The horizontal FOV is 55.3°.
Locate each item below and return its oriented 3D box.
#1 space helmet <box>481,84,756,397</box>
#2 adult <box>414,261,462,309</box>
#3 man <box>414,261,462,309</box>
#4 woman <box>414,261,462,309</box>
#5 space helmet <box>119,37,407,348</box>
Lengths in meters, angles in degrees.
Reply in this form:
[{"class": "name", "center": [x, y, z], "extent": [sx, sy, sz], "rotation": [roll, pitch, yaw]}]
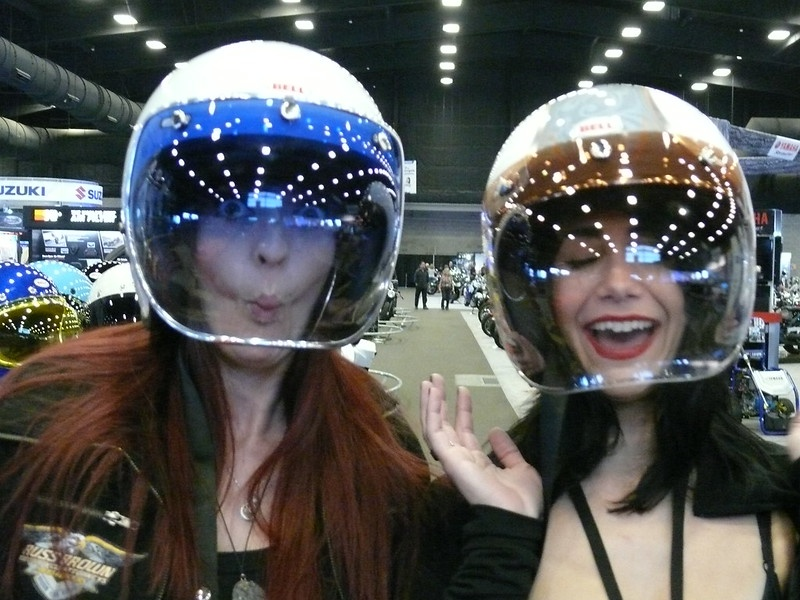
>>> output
[{"class": "space helmet", "center": [0.432, -0.093, 1.688], "extent": [0.440, 0.525, 0.593], "rotation": [-2, -8, 5]}, {"class": "adult", "center": [0.671, -0.307, 15.178], "extent": [0.721, 0.889, 1.338], "rotation": [8, 3, -15]}, {"class": "man", "center": [0.656, -0.303, 15.009], "extent": [0.721, 0.889, 1.338], "rotation": [8, 3, -15]}, {"class": "woman", "center": [0.659, -0.301, 15.090], "extent": [0.721, 0.889, 1.338], "rotation": [8, 3, -15]}, {"class": "space helmet", "center": [-0.224, -0.141, 1.619], "extent": [0.450, 0.609, 0.573], "rotation": [5, -13, -8]}]
